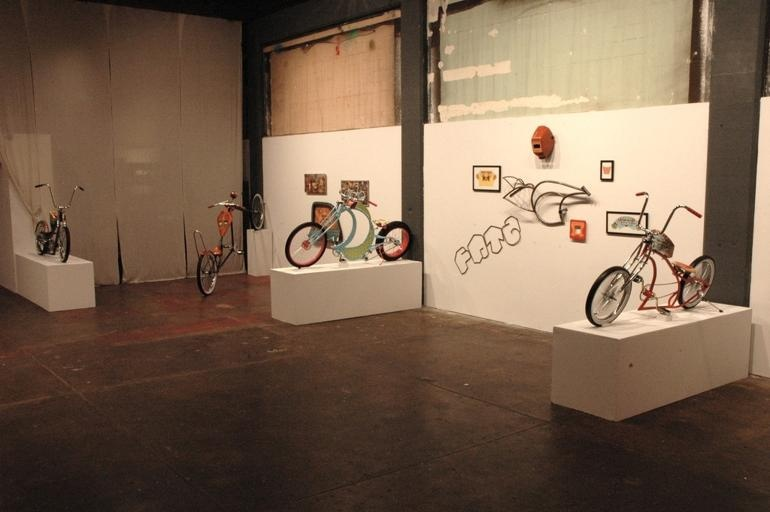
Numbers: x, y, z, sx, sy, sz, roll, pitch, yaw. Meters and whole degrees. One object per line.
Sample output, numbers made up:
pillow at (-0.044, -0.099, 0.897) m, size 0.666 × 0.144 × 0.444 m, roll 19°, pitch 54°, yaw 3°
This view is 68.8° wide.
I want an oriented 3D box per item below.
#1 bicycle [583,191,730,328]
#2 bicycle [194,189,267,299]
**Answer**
bicycle at (2.299, -0.017, 5.652) m, size 1.804 × 1.278 × 0.946 m, roll -1°, pitch 11°, yaw -27°
bicycle at (-3.057, -0.286, 10.133) m, size 0.866 × 1.210 × 2.299 m, roll -2°, pitch 27°, yaw 6°
